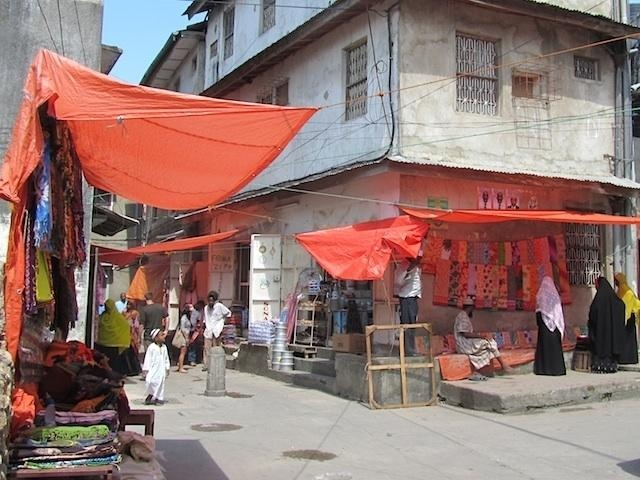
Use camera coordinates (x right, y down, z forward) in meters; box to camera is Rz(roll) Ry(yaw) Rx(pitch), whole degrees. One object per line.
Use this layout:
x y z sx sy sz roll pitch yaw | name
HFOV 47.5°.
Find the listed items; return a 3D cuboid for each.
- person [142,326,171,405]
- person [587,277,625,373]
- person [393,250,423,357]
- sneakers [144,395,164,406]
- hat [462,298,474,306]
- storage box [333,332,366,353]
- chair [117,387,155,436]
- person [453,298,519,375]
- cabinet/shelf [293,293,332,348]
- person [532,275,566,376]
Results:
-2.804 2.103 12.305 0.383 1.215 0.513 4 -13 -14 | person
5.446 1.572 13.778 0.674 1.770 0.304 -2 -13 13 | person
1.576 1.163 12.856 0.427 1.686 0.816 -1 -13 5 | person
-2.800 2.661 12.253 0.302 0.220 0.144 -3 -12 7 | sneakers
2.969 1.181 14.497 0.210 0.146 0.114 4 -9 -27 | hat
0.533 1.965 14.032 0.655 0.425 0.458 -3 -13 13 | storage box
-2.144 1.957 8.382 0.435 0.502 0.507 5 -14 -21 | chair
2.959 1.783 13.330 0.851 1.455 1.066 -6 -14 25 | person
-0.117 1.654 15.849 0.586 0.929 0.573 10 9 -21 | cabinet/shelf
4.253 1.562 13.569 0.567 1.832 0.431 -3 -13 15 | person
